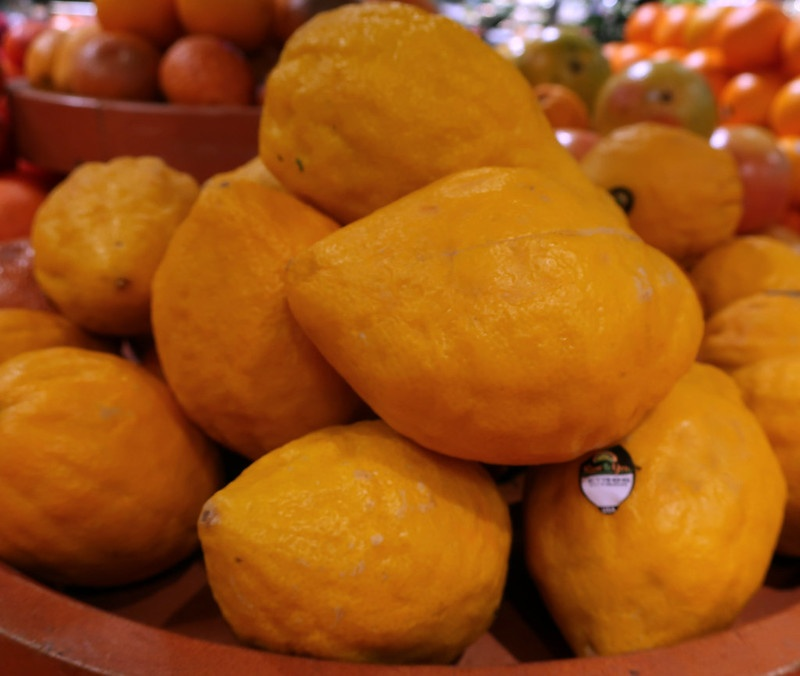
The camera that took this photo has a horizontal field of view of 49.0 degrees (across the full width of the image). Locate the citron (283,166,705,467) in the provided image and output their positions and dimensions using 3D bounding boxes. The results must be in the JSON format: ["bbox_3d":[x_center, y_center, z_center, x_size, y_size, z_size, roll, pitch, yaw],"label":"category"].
[{"bbox_3d":[0.064,-0.014,0.765,0.293,0.207,0.190,7,88,-3],"label":"citron"}]

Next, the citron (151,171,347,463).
[{"bbox_3d":[-0.133,-0.011,0.841,0.143,0.179,0.232,-23,108,-1],"label":"citron"}]

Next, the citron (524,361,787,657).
[{"bbox_3d":[0.216,0.148,0.797,0.187,0.147,0.242,43,82,-1],"label":"citron"}]

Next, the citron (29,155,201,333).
[{"bbox_3d":[-0.279,-0.095,0.900,0.127,0.153,0.166,42,58,16],"label":"citron"}]
